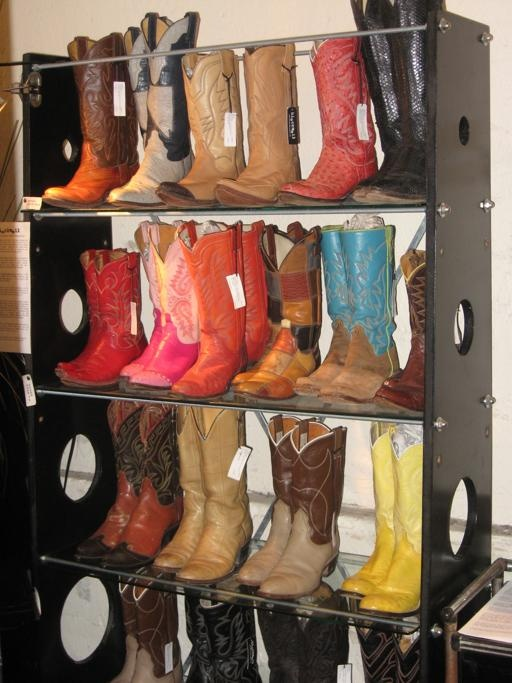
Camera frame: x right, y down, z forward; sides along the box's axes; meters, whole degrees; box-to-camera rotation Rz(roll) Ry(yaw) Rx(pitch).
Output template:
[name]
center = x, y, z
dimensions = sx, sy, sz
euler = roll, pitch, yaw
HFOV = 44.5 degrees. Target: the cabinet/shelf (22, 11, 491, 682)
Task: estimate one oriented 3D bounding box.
[cabinet/shelf]
center = -0.026, 0.032, 1.423
dimensions = 1.063, 1.453, 0.509
euler = 1, 10, 34
